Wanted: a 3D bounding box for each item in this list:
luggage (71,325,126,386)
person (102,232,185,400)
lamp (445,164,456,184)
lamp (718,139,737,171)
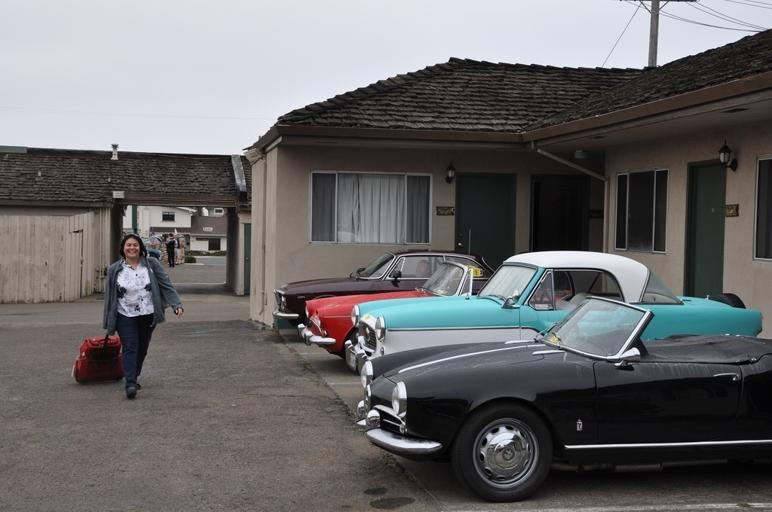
[{"bbox_3d":[-4.102,1.518,9.440,0.561,0.424,0.925,1,-3,-21],"label":"luggage"},{"bbox_3d":[-3.312,0.808,8.894,0.873,2.141,0.548,-1,4,-32],"label":"person"},{"bbox_3d":[1.522,-1.859,14.865,0.272,0.439,0.172,-2,5,-36],"label":"lamp"},{"bbox_3d":[5.799,-1.709,11.170,0.249,0.543,0.286,0,4,-19],"label":"lamp"}]
